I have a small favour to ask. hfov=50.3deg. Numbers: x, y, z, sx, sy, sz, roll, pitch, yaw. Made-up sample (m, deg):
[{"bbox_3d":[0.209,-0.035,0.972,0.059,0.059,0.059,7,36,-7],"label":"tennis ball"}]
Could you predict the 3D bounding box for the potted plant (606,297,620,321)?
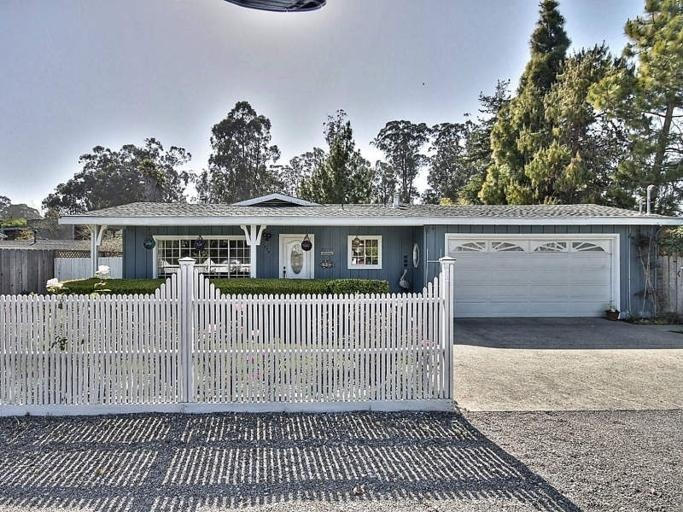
[{"bbox_3d":[9.490,1.868,25.349,0.597,0.952,0.650,3,-5,5],"label":"potted plant"}]
